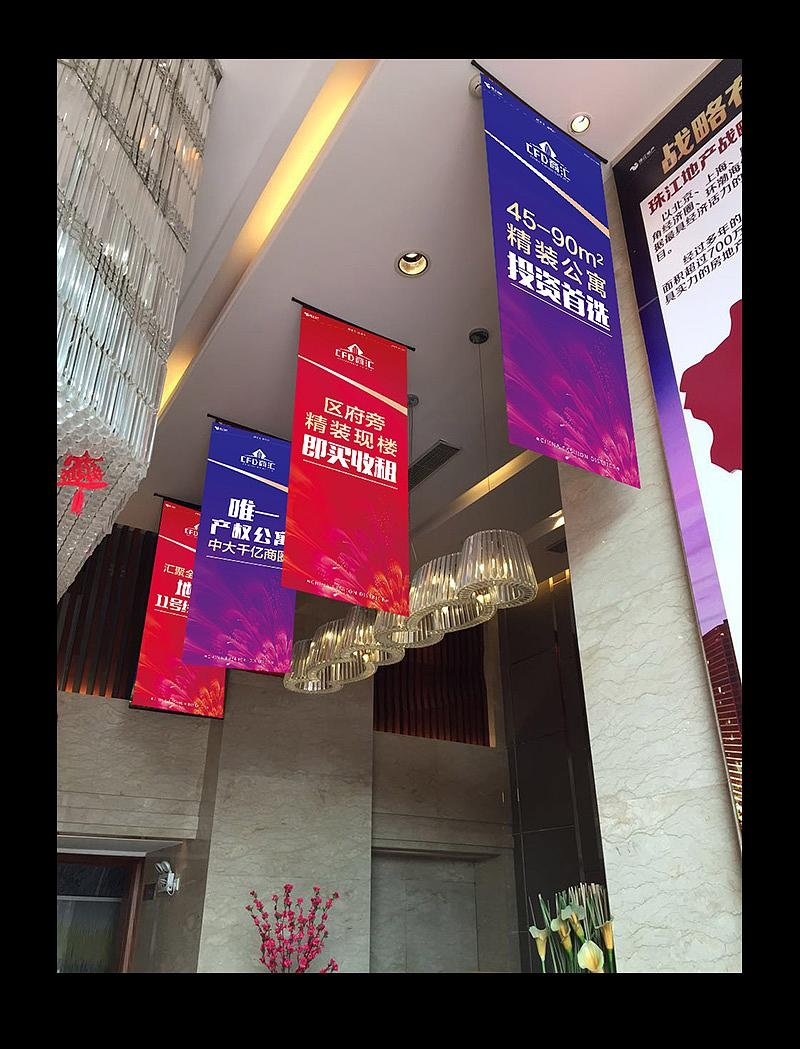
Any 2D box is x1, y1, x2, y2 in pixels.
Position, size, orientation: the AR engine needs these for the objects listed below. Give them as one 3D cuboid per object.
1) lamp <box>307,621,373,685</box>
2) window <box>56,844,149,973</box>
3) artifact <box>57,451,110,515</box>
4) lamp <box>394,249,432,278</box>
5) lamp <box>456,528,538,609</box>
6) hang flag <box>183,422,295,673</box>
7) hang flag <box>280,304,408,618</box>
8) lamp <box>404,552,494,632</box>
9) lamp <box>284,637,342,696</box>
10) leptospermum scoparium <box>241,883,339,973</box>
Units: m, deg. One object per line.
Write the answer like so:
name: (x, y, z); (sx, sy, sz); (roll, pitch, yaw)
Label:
lamp: (-0.838, 1.253, 5.758); (0.771, 0.547, 0.836); (-9, -13, 9)
window: (-4.314, 5.327, 8.013); (1.514, 1.986, 0.156); (8, 7, -4)
artifact: (-1.425, -0.153, 2.474); (0.152, 0.185, 0.309); (8, -24, -19)
lamp: (0.052, -2.238, 5.222); (0.305, 0.075, 0.204); (0, -23, -1)
lamp: (0.778, 0.361, 4.399); (0.479, 0.387, 0.512); (-11, -29, 17)
hang flag: (-1.504, 0.105, 5.378); (0.923, 2.465, 0.741); (9, -23, -21)
hang flag: (-0.419, -0.499, 4.350); (1.037, 2.539, 0.031); (15, -36, -23)
lamp: (0.517, 0.529, 4.621); (0.662, 0.330, 0.664); (14, -8, -18)
lamp: (-0.935, 1.423, 5.797); (0.585, 0.454, 0.628); (9, -33, -19)
leptospermum scoparium: (-1.456, 4.816, 7.108); (1.177, 0.934, 0.568); (5, -22, -12)
